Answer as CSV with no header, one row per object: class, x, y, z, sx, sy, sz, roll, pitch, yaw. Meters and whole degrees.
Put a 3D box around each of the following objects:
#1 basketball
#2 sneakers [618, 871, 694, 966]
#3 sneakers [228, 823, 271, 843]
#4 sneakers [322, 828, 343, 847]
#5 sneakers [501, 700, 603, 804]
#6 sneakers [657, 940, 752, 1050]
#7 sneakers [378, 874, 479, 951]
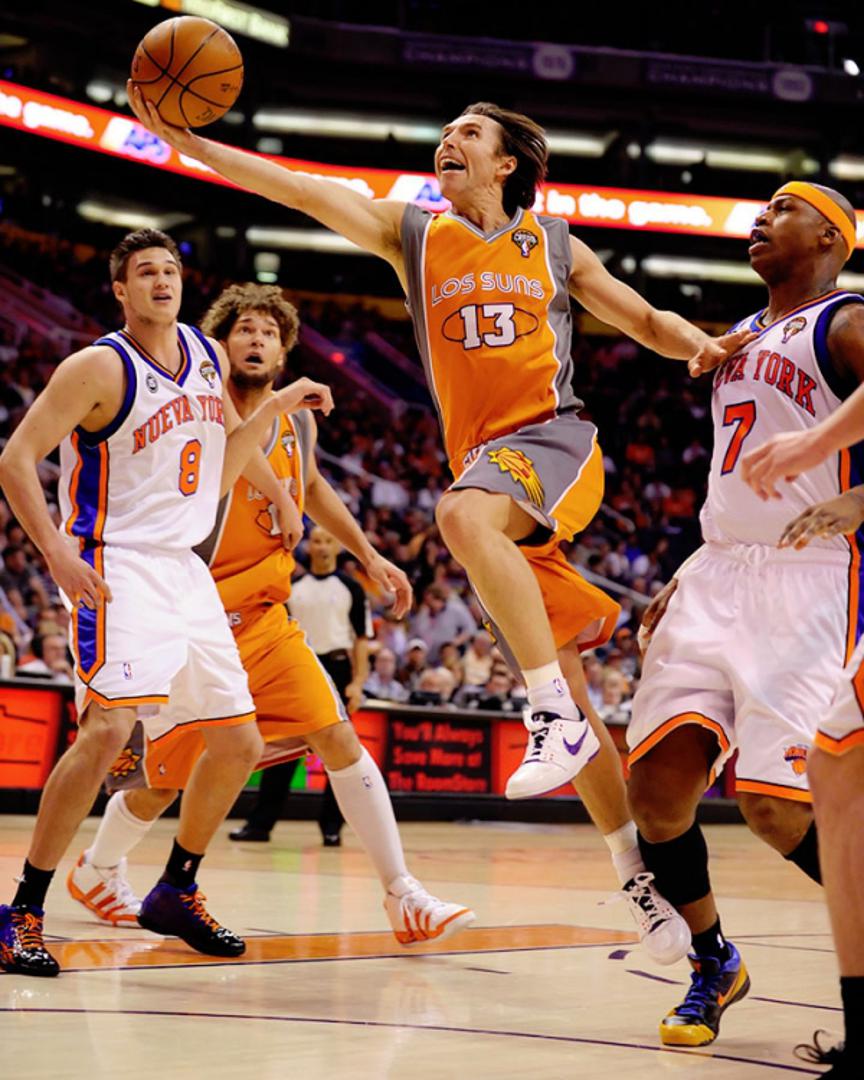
basketball,-0.645,-1.335,3.012,0.293,0.286,0.292,-27,25,-38
sneakers,0.526,0.888,2.541,0.097,0.107,0.276,-36,11,0
sneakers,-1.220,1.890,6.953,0.348,0.116,0.104,8,-8,-11
sneakers,-0.651,1.929,6.969,0.125,0.122,0.320,-1,-14,-2
sneakers,0.252,0.497,2.551,0.127,0.150,0.355,-14,-3,25
sneakers,0.572,0.947,2.220,0.105,0.110,0.305,-6,6,32
sneakers,-0.026,1.087,3.151,0.123,0.146,0.329,-28,3,-35
